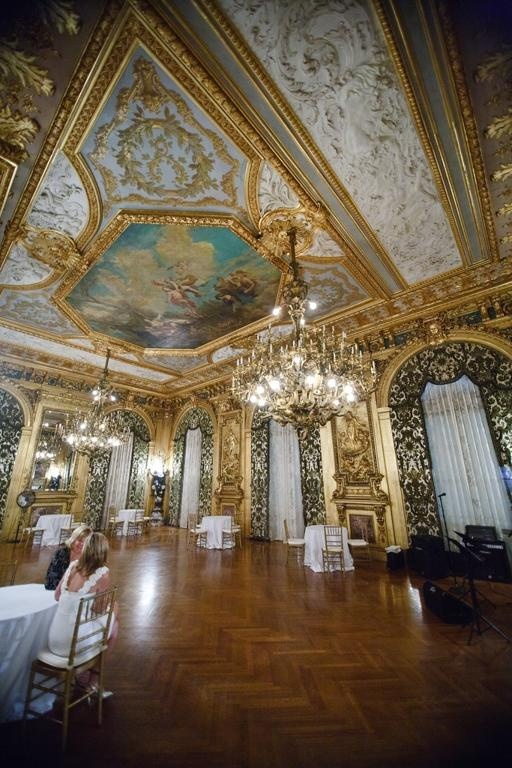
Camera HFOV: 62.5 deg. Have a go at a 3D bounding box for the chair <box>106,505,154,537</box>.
[{"bbox_3d":[-3.099,3.339,10.136,1.002,0.570,0.878,2,-16,-1],"label":"chair"}]

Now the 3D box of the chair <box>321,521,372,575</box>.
[{"bbox_3d":[1.290,2.427,6.331,0.759,1.066,0.666,-10,-24,16],"label":"chair"}]

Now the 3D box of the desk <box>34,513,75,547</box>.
[{"bbox_3d":[-3.957,2.797,8.087,0.575,0.499,0.817,-1,-9,32],"label":"desk"}]
